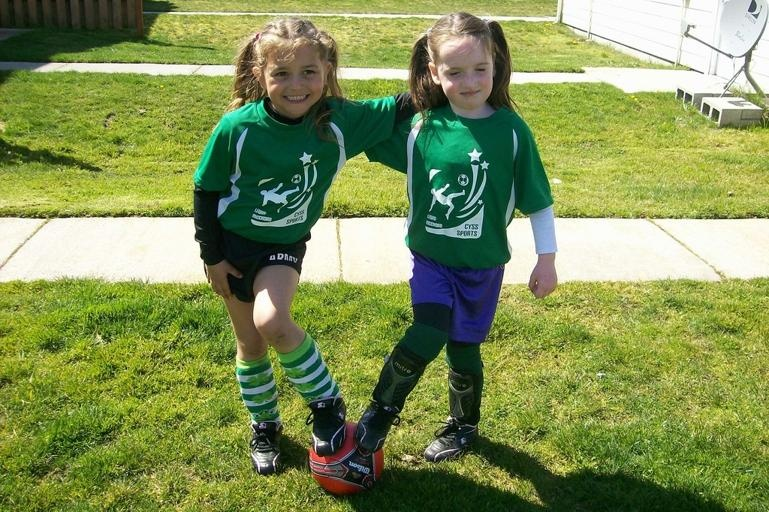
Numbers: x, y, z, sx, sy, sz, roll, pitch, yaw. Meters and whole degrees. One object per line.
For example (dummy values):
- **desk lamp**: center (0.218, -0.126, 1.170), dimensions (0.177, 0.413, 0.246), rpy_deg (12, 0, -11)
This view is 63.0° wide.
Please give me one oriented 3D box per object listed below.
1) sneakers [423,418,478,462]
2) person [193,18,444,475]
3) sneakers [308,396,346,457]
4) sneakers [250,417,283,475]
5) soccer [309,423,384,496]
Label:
- **sneakers**: center (0.450, 1.183, 4.156), dimensions (0.183, 0.172, 0.420), rpy_deg (16, 25, 42)
- **person**: center (-0.628, -0.058, 3.923), dimensions (1.091, 2.624, 1.148), rpy_deg (2, 23, 2)
- **sneakers**: center (-0.356, 1.059, 3.844), dimensions (0.166, 0.174, 0.402), rpy_deg (-4, 52, 3)
- **sneakers**: center (-0.767, 1.225, 4.008), dimensions (0.133, 0.153, 0.380), rpy_deg (-1, 29, -7)
- **soccer**: center (-0.200, 1.264, 3.939), dimensions (0.359, 0.438, 0.394), rpy_deg (9, 23, 24)
